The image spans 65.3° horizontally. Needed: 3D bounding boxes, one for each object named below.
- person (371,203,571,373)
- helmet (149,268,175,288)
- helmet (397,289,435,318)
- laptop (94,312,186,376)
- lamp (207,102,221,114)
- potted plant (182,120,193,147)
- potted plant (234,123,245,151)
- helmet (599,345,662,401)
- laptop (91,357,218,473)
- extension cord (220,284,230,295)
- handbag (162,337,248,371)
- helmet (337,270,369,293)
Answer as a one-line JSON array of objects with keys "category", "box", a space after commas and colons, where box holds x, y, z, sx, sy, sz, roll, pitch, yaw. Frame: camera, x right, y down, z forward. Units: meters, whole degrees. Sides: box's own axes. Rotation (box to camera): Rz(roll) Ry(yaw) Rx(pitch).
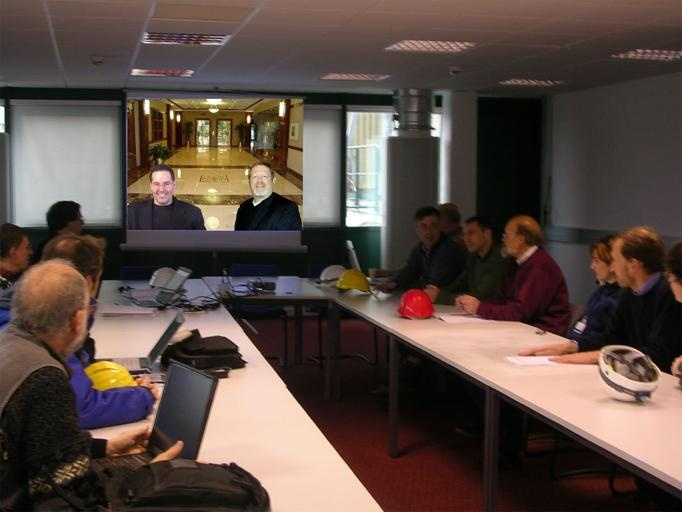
[{"category": "person", "box": [1.117, 0.113, 4.046, 1.218, 0.770, 0.743, 5, -3, -7]}, {"category": "helmet", "box": [-1.639, 0.190, 4.785, 0.296, 0.186, 0.214, 5, -1, 2]}, {"category": "helmet", "box": [0.510, 0.338, 3.737, 0.212, 0.115, 0.243, -1, 1, -30]}, {"category": "laptop", "box": [-1.163, 0.504, 3.020, 0.500, 0.246, 0.478, 12, 4, -27]}, {"category": "lamp", "box": [-1.980, -2.288, 8.267, 0.211, 0.113, 0.200, -3, 7, -35]}, {"category": "potted plant", "box": [-2.375, -1.881, 8.224, 0.151, 0.379, 0.052, -3, 7, -11]}, {"category": "potted plant", "box": [-1.575, -1.870, 8.289, 0.160, 0.376, 0.085, -2, 6, -7]}, {"category": "helmet", "box": [1.158, 0.459, 2.172, 0.220, 0.134, 0.224, 22, 9, -21]}, {"category": "laptop", "box": [-0.528, 0.469, 1.727, 0.320, 0.312, 0.392, 18, -2, -36]}, {"category": "extension cord", "box": [-0.998, 0.296, 4.642, 0.112, 0.094, 0.102, -2, 4, -27]}, {"category": "handbag", "box": [-0.672, 0.472, 2.583, 0.262, 0.059, 0.227, 0, 4, -14]}, {"category": "helmet", "box": [0.103, 0.213, 4.752, 0.297, 0.154, 0.190, 20, -3, -4]}]
